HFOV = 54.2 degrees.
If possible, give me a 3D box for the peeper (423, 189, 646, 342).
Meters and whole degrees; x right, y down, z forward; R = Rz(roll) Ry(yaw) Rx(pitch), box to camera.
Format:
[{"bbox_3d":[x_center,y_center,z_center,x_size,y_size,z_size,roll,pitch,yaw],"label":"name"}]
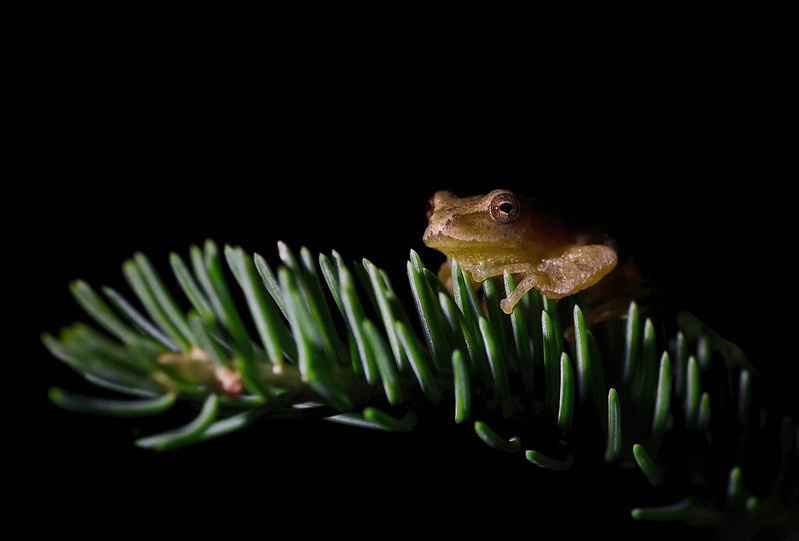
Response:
[{"bbox_3d":[0.277,0.040,1.650,0.329,0.142,0.349,10,-7,-38],"label":"peeper"}]
